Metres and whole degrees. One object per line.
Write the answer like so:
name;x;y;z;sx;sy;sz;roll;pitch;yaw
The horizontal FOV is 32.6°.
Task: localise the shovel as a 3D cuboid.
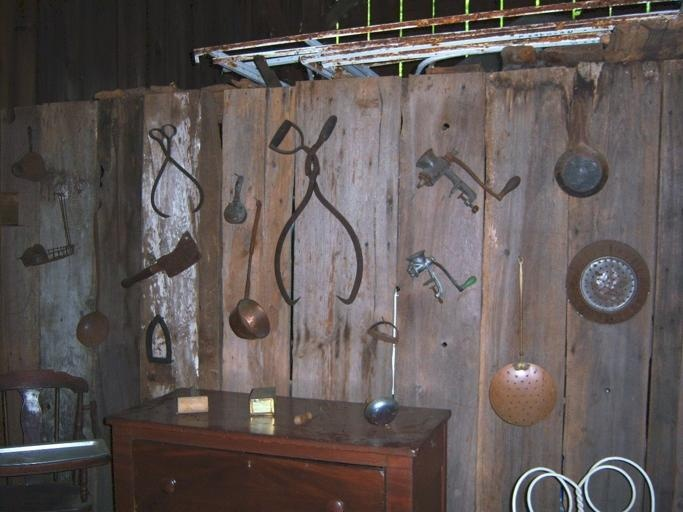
shovel;-0.845;0.051;5.543;0.342;0.186;0.058;-31;-8;17
